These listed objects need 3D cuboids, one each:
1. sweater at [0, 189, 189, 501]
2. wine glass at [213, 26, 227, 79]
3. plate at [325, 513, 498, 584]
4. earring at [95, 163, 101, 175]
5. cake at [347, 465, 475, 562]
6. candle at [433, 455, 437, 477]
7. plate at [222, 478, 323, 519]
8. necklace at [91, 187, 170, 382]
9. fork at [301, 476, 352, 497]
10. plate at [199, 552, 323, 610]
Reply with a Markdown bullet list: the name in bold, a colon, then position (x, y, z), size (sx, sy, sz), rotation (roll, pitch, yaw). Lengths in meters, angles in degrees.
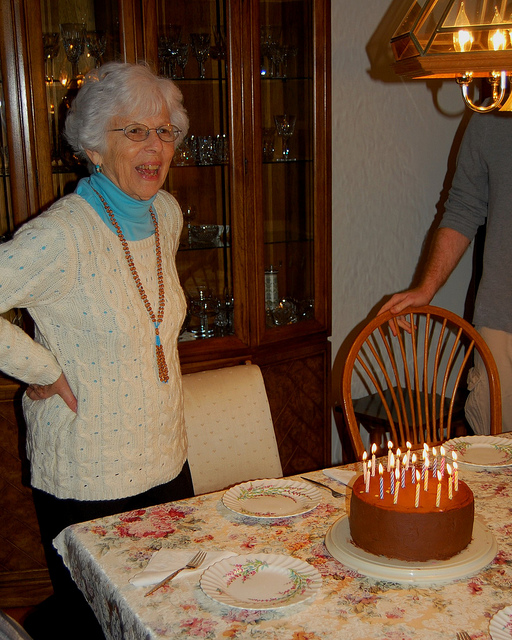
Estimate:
- **sweater**: position (-0.344, 0.045, 1.261), size (0.422, 0.654, 0.283), rotation (-5, 6, -25)
- **wine glass**: position (-0.133, -1.007, 2.129), size (0.047, 0.179, 0.026), rotation (-3, 5, -2)
- **plate**: position (0.226, 0.322, 0.812), size (0.249, 0.022, 0.180), rotation (-2, 5, 4)
- **earring**: position (-0.367, -0.353, 1.316), size (0.009, 0.018, 0.034), rotation (-5, 5, -23)
- **cake**: position (0.215, 0.242, 0.807), size (0.145, 0.081, 0.138), rotation (0, 13, 0)
- **candle**: position (0.283, 0.229, 0.895), size (0.004, 0.035, 0.031), rotation (-1, 5, 18)
- **plate**: position (0.030, 0.320, 1.020), size (0.182, 0.015, 0.184), rotation (-2, 5, -2)
- **necklace**: position (-0.260, -0.080, 1.265), size (0.128, 0.462, 0.014), rotation (3, -22, -37)
- **fork**: position (0.130, 0.316, 1.080), size (0.018, 0.011, 0.126), rotation (1, 11, -40)
- **plate**: position (0.006, 0.331, 0.724), size (0.155, 0.017, 0.140), rotation (-2, 5, 5)
